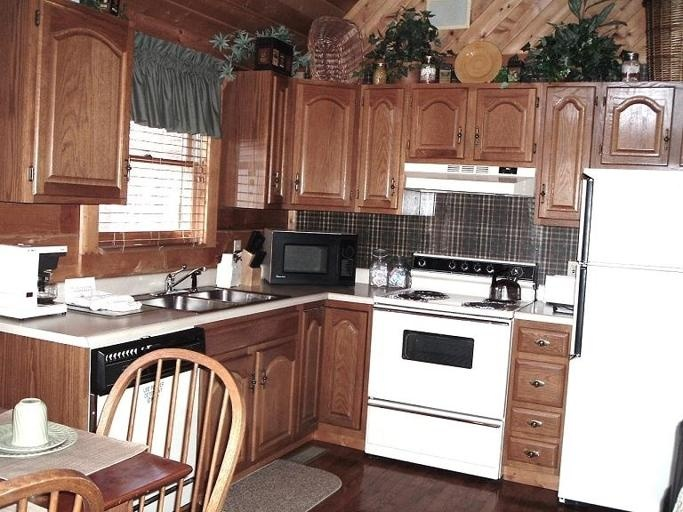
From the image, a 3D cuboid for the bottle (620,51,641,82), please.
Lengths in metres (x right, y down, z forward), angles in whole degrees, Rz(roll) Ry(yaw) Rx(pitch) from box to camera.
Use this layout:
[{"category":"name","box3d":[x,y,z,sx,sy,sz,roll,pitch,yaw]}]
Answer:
[{"category":"bottle","box3d":[1.853,-1.219,3.521,0.116,0.212,0.178,8,7,27]}]

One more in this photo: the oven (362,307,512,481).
[{"category":"oven","box3d":[0.779,0.860,3.758,0.958,1.035,0.744,1,-6,37]}]

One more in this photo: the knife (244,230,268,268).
[{"category":"knife","box3d":[-0.599,-0.051,3.836,0.129,0.255,0.084,-2,9,-44]}]

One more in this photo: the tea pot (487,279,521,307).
[{"category":"tea pot","box3d":[1.097,0.242,3.688,0.182,0.133,0.177,0,4,0]}]

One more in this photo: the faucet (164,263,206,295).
[{"category":"faucet","box3d":[-0.927,0.135,3.376,0.313,0.181,0.126,0,6,6]}]

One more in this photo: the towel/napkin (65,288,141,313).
[{"category":"towel/napkin","box3d":[-1.176,0.227,2.742,0.316,0.070,0.218,7,7,27]}]

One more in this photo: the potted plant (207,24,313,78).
[{"category":"potted plant","box3d":[-0.616,-1.357,3.859,0.539,0.300,0.555,-5,15,-39]}]

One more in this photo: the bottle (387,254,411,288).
[{"category":"bottle","box3d":[0.449,0.132,4.216,0.161,0.257,0.149,5,-1,0]}]

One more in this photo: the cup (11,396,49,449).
[{"category":"cup","box3d":[-0.883,0.476,1.575,0.107,0.110,0.105,-1,-6,0]}]

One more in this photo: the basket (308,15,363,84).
[{"category":"basket","box3d":[-0.090,-1.560,4.140,0.373,0.437,0.279,10,35,17]}]

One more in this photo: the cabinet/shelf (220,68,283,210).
[{"category":"cabinet/shelf","box3d":[-0.614,-0.800,3.773,0.443,0.935,0.188,4,6,-7]}]

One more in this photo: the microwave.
[{"category":"microwave","box3d":[-0.231,0.012,3.952,0.662,0.393,0.406,0,1,-19]}]

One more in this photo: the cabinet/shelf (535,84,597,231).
[{"category":"cabinet/shelf","box3d":[1.443,-0.675,3.610,0.339,0.872,0.084,2,6,0]}]

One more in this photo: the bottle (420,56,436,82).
[{"category":"bottle","box3d":[0.612,-1.328,3.870,0.119,0.198,0.061,6,6,13]}]
